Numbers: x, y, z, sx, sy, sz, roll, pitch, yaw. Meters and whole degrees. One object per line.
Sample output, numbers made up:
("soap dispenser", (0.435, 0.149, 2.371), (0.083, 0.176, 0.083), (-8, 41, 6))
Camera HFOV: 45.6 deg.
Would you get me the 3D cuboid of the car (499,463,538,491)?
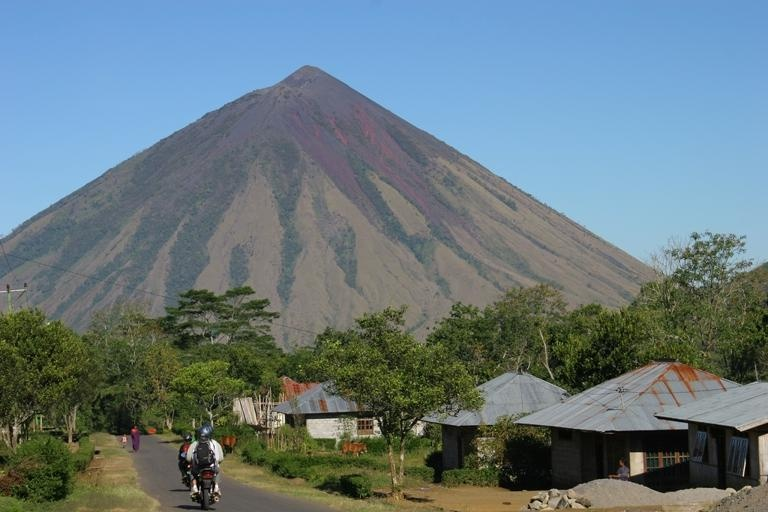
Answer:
("car", (10.522, 17.163, 70.099), (2.036, 0.985, 2.126), (2, -4, -14))
